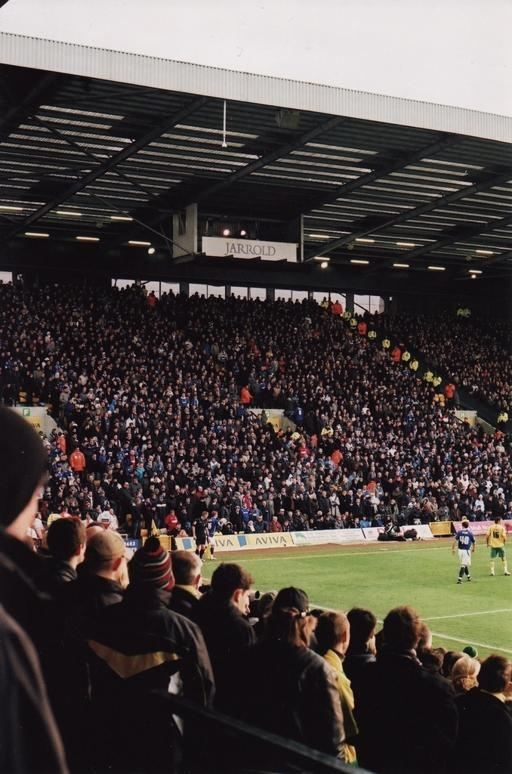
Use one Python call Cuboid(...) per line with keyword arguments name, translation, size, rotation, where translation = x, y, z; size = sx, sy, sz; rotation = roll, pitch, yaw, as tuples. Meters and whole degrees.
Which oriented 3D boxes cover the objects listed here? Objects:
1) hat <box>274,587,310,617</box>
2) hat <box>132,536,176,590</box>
Cuboid(name="hat", translation=(0.202, 1.221, 6.680), size=(0.206, 0.108, 0.364), rotation=(6, -3, 2))
Cuboid(name="hat", translation=(-0.520, 0.892, 6.040), size=(0.182, 0.247, 0.279), rotation=(2, 12, -3))
